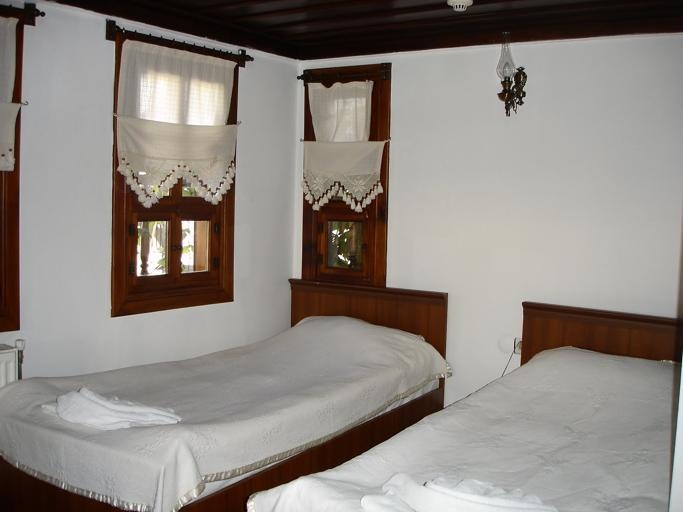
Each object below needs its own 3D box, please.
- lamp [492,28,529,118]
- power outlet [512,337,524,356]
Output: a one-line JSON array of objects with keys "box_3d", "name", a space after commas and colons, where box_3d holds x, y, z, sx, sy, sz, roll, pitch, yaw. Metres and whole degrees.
[{"box_3d": [1.126, -1.239, 3.626, 0.179, 0.653, 0.786, 2, 6, 17], "name": "lamp"}, {"box_3d": [1.299, 0.675, 4.079, 0.091, 0.107, 0.021, 11, -5, -38], "name": "power outlet"}]
